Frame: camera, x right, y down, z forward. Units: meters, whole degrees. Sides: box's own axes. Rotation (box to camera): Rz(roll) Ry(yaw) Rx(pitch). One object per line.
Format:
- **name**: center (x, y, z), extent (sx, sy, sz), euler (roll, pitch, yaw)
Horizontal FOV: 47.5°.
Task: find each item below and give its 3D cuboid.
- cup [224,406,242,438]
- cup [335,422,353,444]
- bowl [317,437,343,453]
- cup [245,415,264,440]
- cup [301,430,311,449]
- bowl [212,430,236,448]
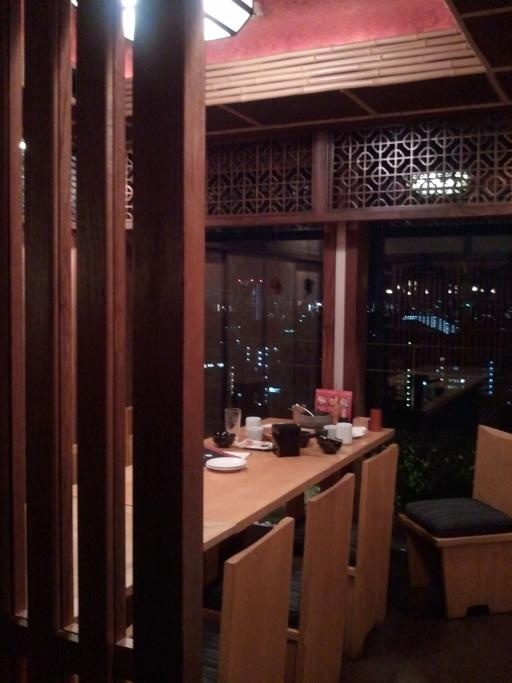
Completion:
- **cup**: center (-0.129, 0.473, 3.428), extent (0.111, 0.226, 0.122), euler (-1, 5, 0)
- **cup**: center (0.493, 0.516, 3.260), extent (0.089, 0.121, 0.099), euler (1, -5, -11)
- **bowl**: center (0.375, 0.538, 3.010), extent (0.076, 0.077, 0.097), euler (2, -8, -1)
- **cup**: center (-0.012, 0.484, 3.257), extent (0.108, 0.126, 0.083), euler (-2, 4, -29)
- **cup**: center (0.269, 0.526, 3.114), extent (0.058, 0.051, 0.065), euler (4, 7, 26)
- **bowl**: center (-0.171, 0.520, 3.088), extent (0.064, 0.081, 0.100), euler (0, -3, 0)
